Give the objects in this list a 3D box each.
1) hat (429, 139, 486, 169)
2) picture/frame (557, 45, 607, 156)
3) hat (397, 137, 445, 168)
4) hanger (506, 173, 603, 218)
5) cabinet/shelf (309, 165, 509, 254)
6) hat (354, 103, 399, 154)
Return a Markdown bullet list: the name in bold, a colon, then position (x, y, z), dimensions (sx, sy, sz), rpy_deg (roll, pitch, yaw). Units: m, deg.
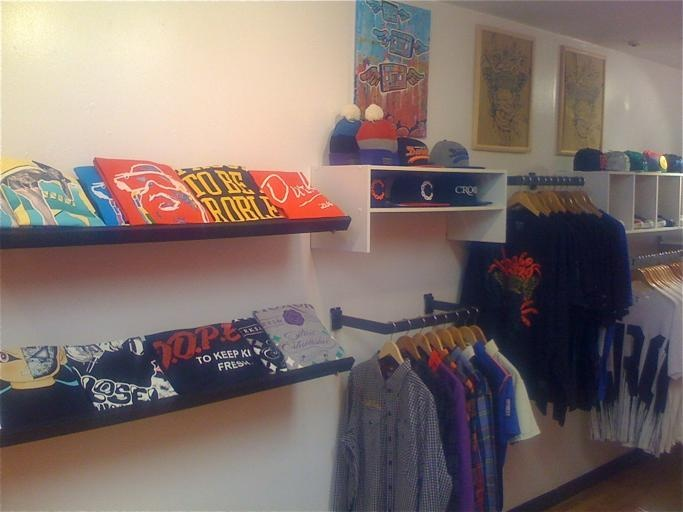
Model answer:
- **hat**: position (0.524, -0.441, 2.234), dimensions (0.220, 0.117, 0.146), rpy_deg (2, 5, 27)
- **picture/frame**: position (1.421, -0.929, 2.923), dimensions (0.446, 0.637, 0.091), rpy_deg (-12, 9, -32)
- **hat**: position (0.340, -0.440, 2.176), dimensions (0.170, 0.149, 0.129), rpy_deg (0, -3, 3)
- **hanger**: position (1.104, -0.310, 2.589), dimensions (0.412, 0.133, 0.286), rpy_deg (-1, 2, -38)
- **cabinet/shelf**: position (0.324, -0.225, 2.236), dimensions (0.916, 0.442, 0.368), rpy_deg (-12, 9, -32)
- **hat**: position (0.144, -0.533, 2.066), dimensions (0.175, 0.215, 0.123), rpy_deg (-7, 8, 4)
